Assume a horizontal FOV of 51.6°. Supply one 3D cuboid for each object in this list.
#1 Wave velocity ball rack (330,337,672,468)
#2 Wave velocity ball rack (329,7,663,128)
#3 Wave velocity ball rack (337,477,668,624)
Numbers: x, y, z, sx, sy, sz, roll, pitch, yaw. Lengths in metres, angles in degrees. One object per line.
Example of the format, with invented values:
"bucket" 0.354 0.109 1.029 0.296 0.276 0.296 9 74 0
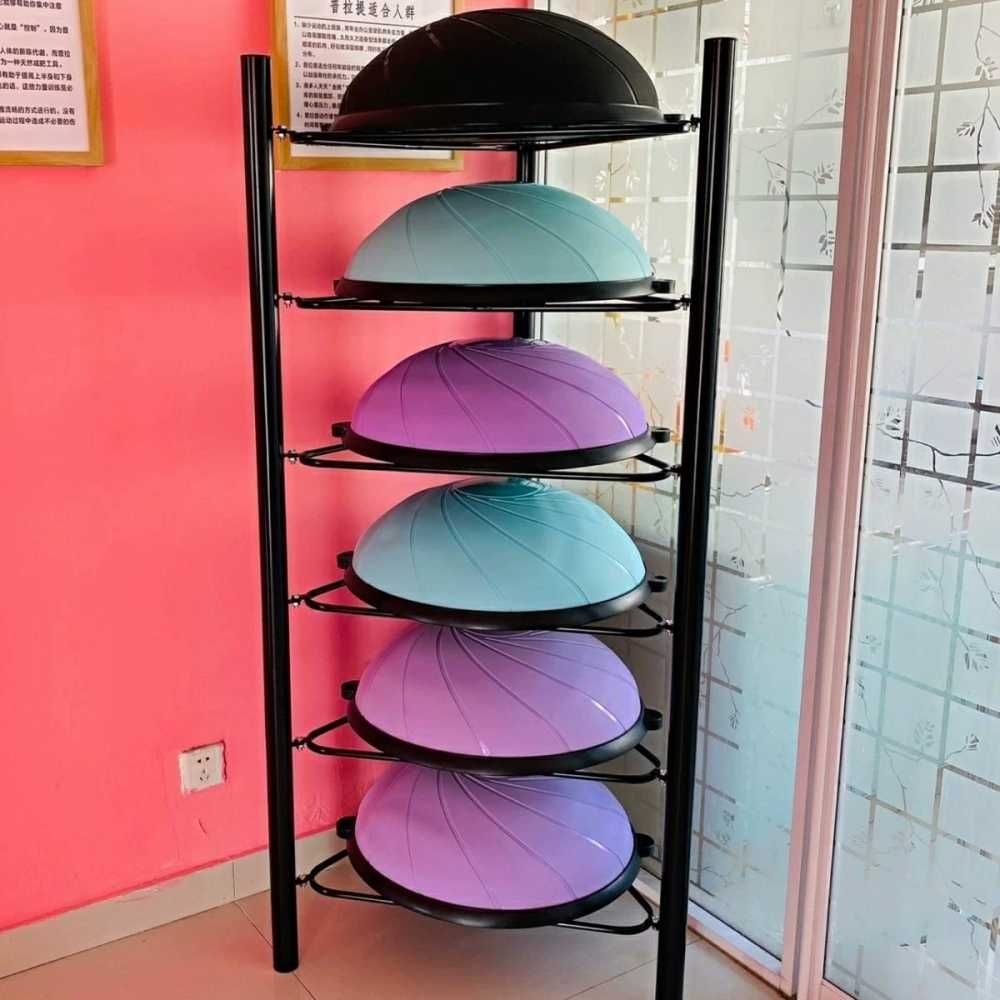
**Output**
"Wave velocity ball rack" -0.039 -0.186 1.793 0.589 0.187 0.533 -7 12 -36
"Wave velocity ball rack" -0.006 -0.607 1.463 0.464 0.168 0.243 -2 14 -8
"Wave velocity ball rack" -0.005 0.029 1.818 0.452 0.158 0.485 8 17 -40
